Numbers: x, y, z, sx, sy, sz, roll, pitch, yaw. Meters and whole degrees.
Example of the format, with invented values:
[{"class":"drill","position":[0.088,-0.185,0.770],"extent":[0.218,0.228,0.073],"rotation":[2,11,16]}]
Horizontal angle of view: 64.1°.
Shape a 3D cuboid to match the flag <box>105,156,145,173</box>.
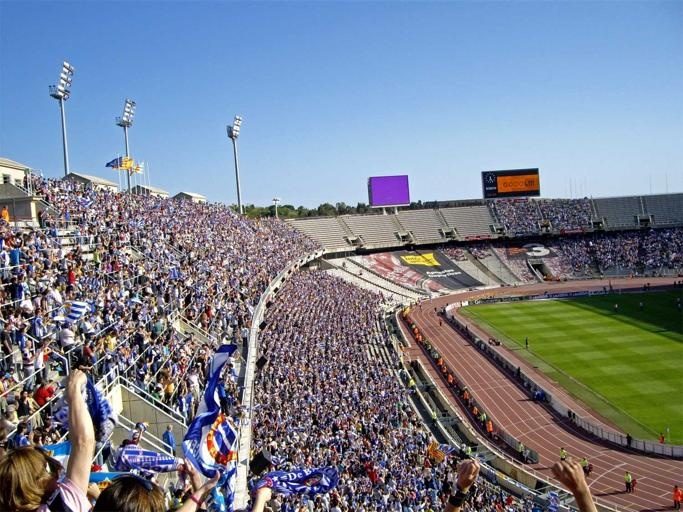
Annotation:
[{"class":"flag","position":[-16.719,-7.129,42.364],"extent":[0.929,1.170,3.755],"rotation":[-4,7,7]}]
